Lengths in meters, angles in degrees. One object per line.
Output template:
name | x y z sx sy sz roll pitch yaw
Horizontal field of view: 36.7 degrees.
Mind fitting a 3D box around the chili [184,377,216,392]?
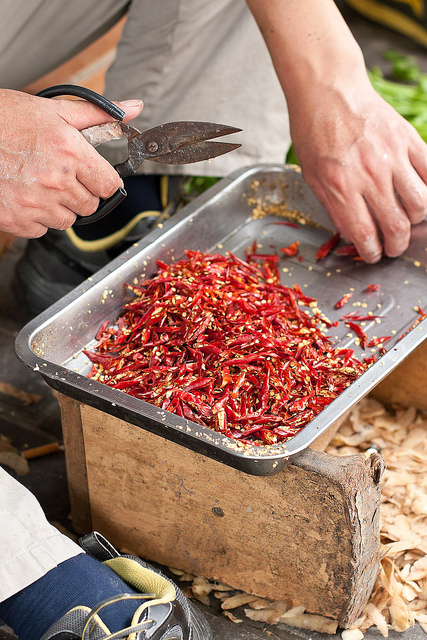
chili | -0.025 0.113 1.136 0.065 0.015 0.015 -11 90 -14

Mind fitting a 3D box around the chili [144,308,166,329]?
chili | -0.117 -0.006 1.300 0.051 0.021 0.018 -31 59 -25

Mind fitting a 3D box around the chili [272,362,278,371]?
chili | 0.115 0.088 1.195 0.007 0.006 0.019 -5 50 -6

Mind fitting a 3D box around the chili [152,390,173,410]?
chili | -0.085 0.140 1.122 0.008 0.031 0.031 47 30 -16

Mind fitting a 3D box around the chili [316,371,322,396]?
chili | 0.194 0.115 1.190 0.010 0.009 0.043 -12 48 37

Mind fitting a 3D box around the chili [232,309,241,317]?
chili | 0.049 -0.015 1.318 0.013 0.003 0.012 4 41 8

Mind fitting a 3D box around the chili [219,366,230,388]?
chili | 0.021 0.099 1.156 0.012 0.008 0.041 8 36 13

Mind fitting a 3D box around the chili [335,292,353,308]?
chili | 0.285 -0.045 1.421 0.014 0.013 0.044 45 45 -2

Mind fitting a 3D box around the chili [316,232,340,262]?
chili | 0.280 -0.185 1.589 0.023 0.028 0.110 26 51 27

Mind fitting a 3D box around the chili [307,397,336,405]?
chili | 0.192 0.143 1.140 0.033 0.009 0.017 -2 59 45

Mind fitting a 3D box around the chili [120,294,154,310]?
chili | -0.159 -0.038 1.361 0.068 0.016 0.012 -14 60 0

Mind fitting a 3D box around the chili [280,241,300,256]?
chili | 0.188 -0.176 1.577 0.038 0.038 0.008 -17 88 -54

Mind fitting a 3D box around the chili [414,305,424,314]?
chili | 0.438 -0.022 1.391 0.026 0.008 0.008 39 35 -15

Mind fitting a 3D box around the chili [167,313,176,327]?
chili | -0.086 -0.002 1.309 0.007 0.024 0.024 -18 30 -5

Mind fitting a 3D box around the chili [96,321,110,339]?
chili | -0.227 0.020 1.330 0.011 0.008 0.043 36 63 -14

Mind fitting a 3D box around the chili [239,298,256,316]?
chili | 0.069 -0.028 1.319 0.022 0.009 0.035 -18 48 -14

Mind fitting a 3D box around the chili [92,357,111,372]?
chili | -0.216 0.086 1.258 0.008 0.025 0.023 -27 101 -32

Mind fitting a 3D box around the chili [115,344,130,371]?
chili | -0.176 0.075 1.262 0.010 0.015 0.052 4 51 40

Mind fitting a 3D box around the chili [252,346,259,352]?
chili | 0.078 0.054 1.213 0.009 0.003 0.010 -2 86 -4

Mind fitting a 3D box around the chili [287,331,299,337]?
chili | 0.159 0.028 1.299 0.025 0.014 0.010 0 52 -3

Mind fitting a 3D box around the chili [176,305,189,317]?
chili | -0.059 -0.021 1.311 0.025 0.015 0.006 46 69 1

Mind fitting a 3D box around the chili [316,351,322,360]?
chili | 0.203 0.069 1.262 0.006 0.004 0.020 -18 53 -37

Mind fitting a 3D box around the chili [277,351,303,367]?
chili | 0.143 0.072 1.212 0.052 0.017 0.015 25 55 18

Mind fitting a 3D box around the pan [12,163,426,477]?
pan | 0.087 -0.059 1.261 0.613 0.110 0.859 27 46 32

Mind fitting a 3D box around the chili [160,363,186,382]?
chili | -0.075 0.101 1.183 0.018 0.016 0.055 9 8 21

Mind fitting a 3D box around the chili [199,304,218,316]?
chili | -0.012 -0.024 1.296 0.034 0.012 0.015 6 51 3

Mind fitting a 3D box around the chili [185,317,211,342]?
chili | -0.026 0.012 1.266 0.017 0.013 0.089 33 39 5

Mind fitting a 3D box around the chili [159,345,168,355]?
chili | -0.097 0.056 1.250 0.017 0.004 0.014 5 78 18

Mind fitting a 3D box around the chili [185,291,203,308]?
chili | -0.034 -0.039 1.313 0.036 0.009 0.028 -52 26 -13

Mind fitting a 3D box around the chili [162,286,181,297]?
chili | -0.084 -0.061 1.354 0.027 0.008 0.023 2 79 6

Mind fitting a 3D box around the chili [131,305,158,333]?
chili | -0.137 -0.002 1.315 0.014 0.011 0.070 44 94 1

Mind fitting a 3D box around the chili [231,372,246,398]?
chili | 0.045 0.115 1.142 0.016 0.012 0.046 36 63 -16
